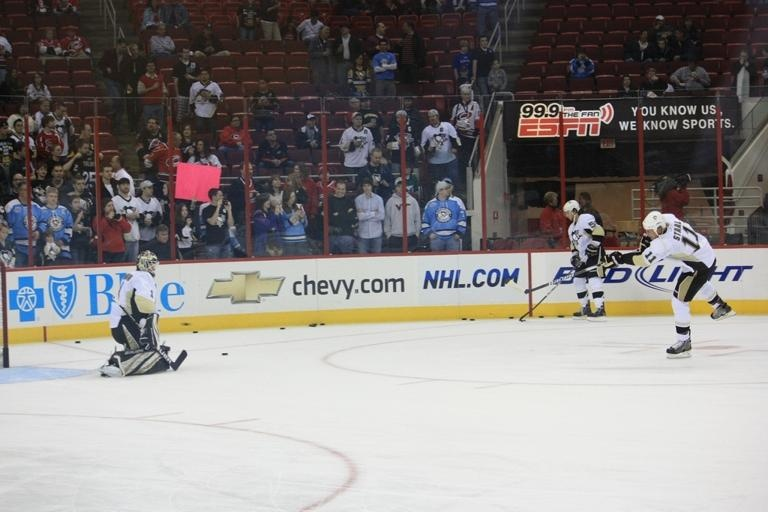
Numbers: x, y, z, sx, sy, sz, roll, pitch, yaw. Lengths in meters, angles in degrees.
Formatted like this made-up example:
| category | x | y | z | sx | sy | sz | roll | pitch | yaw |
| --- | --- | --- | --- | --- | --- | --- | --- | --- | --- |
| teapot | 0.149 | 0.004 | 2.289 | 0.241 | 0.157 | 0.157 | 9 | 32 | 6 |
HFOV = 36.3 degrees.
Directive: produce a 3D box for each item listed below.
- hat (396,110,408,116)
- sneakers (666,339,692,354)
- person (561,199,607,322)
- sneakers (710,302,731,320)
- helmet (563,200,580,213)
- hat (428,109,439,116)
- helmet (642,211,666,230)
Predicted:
| category | x | y | z | sx | sy | sz | roll | pitch | yaw |
| --- | --- | --- | --- | --- | --- | --- | --- | --- | --- |
| hat | 0.350 | -2.979 | 24.066 | 0.146 | 0.127 | 0.141 | -7 | 13 | -43 |
| sneakers | 4.981 | 1.562 | 19.821 | 0.553 | 0.208 | 0.178 | -3 | -2 | -33 |
| person | 4.177 | 0.061 | 24.142 | 0.595 | 2.382 | 1.116 | -7 | 15 | -21 |
| sneakers | 5.942 | 0.980 | 20.725 | 0.233 | 0.252 | 0.434 | -2 | 4 | -31 |
| helmet | 3.865 | -1.030 | 24.121 | 0.297 | 0.238 | 0.221 | 8 | 9 | 23 |
| hat | 1.018 | -2.983 | 24.102 | 0.138 | 0.159 | 0.159 | 4 | 0 | 1 |
| helmet | 4.659 | -0.614 | 20.189 | 0.366 | 0.339 | 0.284 | 0 | 7 | 10 |
